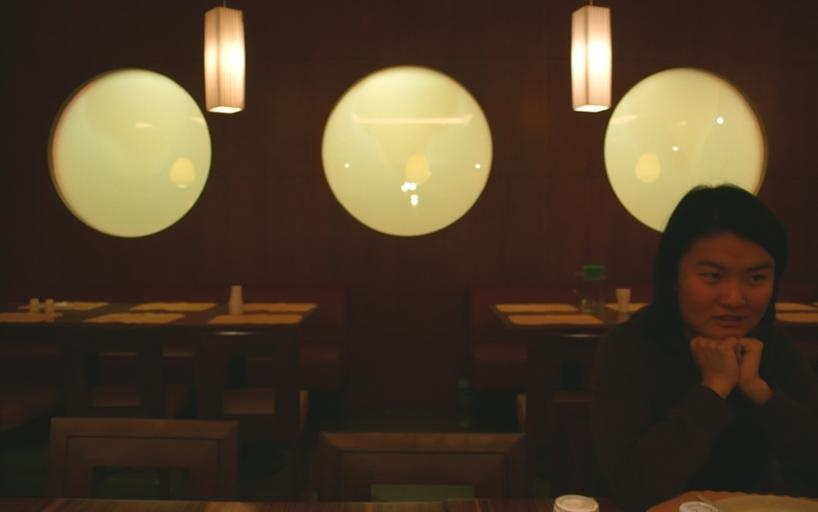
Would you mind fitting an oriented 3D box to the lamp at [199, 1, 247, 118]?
[{"bbox_3d":[-1.317,-1.401,5.474,0.260,0.692,0.094,1,1,-9],"label":"lamp"}]

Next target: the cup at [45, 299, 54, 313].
[{"bbox_3d":[-2.655,0.369,5.679,0.085,0.096,0.084,-1,-8,0],"label":"cup"}]

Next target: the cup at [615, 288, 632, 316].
[{"bbox_3d":[1.558,0.349,5.708,0.167,0.259,0.169,-1,-1,0],"label":"cup"}]
